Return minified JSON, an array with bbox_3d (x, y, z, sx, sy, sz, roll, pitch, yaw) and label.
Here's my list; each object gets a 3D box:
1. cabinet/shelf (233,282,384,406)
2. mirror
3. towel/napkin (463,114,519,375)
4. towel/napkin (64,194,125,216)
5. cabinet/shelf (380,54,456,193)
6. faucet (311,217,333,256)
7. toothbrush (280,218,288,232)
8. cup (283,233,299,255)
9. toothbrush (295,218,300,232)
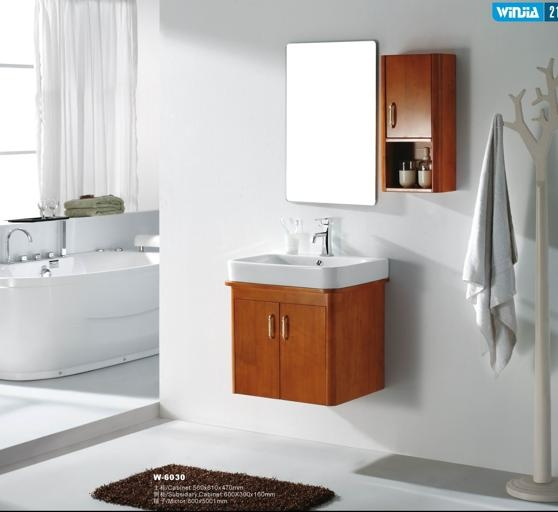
[{"bbox_3d":[0.162,0.324,2.778,0.689,0.646,0.546,3,5,33],"label":"cabinet/shelf"},{"bbox_3d":[0.258,-0.674,2.863,0.454,0.838,0.016,1,-5,6],"label":"mirror"},{"bbox_3d":[0.869,-0.052,2.362,0.227,1.174,0.194,-7,47,13],"label":"towel/napkin"},{"bbox_3d":[-1.714,-0.462,5.257,0.538,0.174,0.250,-7,10,-26],"label":"towel/napkin"},{"bbox_3d":[0.616,-0.583,2.492,0.333,0.608,0.254,1,9,18],"label":"cabinet/shelf"},{"bbox_3d":[0.216,-0.096,2.822,0.110,0.183,0.187,-1,9,3],"label":"faucet"},{"bbox_3d":[0.027,-0.167,2.974,0.022,0.088,0.020,-16,-5,23],"label":"toothbrush"},{"bbox_3d":[0.064,-0.058,2.996,0.085,0.150,0.095,0,2,-6],"label":"cup"},{"bbox_3d":[0.097,-0.161,2.952,0.017,0.063,0.036,-7,10,-34],"label":"toothbrush"}]
